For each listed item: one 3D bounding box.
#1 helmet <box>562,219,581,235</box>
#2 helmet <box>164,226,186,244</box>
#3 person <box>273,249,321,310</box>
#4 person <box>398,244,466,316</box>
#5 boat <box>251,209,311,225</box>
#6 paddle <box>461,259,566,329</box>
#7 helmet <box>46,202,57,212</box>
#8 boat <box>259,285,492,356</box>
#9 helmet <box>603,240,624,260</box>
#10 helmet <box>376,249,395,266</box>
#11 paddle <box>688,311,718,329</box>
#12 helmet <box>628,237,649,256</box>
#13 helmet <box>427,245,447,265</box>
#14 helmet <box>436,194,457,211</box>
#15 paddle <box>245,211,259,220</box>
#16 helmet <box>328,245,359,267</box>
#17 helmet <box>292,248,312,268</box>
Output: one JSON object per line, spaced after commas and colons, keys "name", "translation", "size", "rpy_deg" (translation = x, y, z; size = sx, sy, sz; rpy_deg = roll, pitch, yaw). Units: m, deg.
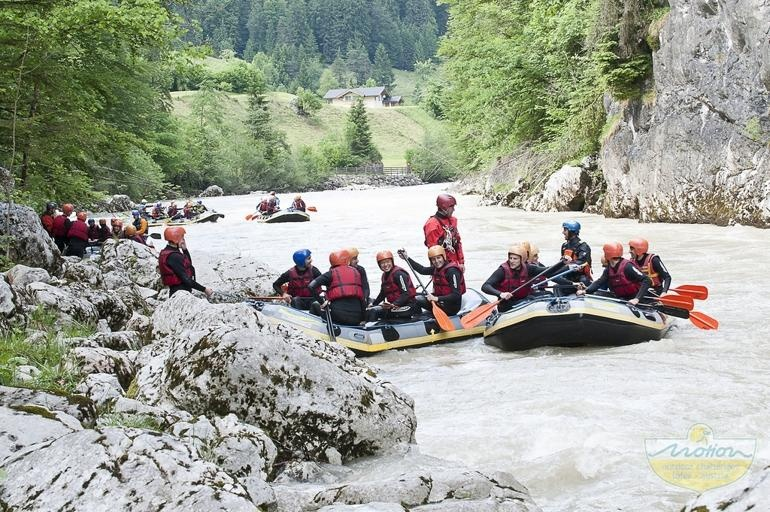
{"name": "helmet", "translation": [4.346, -0.668, 19.303], "size": [0.431, 0.340, 0.307], "rpy_deg": [-20, 27, -11]}
{"name": "helmet", "translation": [-4.598, -0.466, 18.144], "size": [0.462, 0.337, 0.363], "rpy_deg": [-8, 13, -18]}
{"name": "person", "translation": [-1.787, 0.677, 17.786], "size": [1.029, 1.530, 0.926], "rpy_deg": [1, 13, -24]}
{"name": "person", "translation": [1.016, 0.578, 18.181], "size": [1.668, 1.525, 1.183], "rpy_deg": [7, 5, 44]}
{"name": "boat", "translation": [-5.364, -2.037, 43.255], "size": [2.887, 0.638, 1.589], "rpy_deg": [-1, 9, 6]}
{"name": "paddle", "translation": [2.779, 0.876, 17.824], "size": [2.320, 0.194, 0.318], "rpy_deg": [-35, 54, 2]}
{"name": "helmet", "translation": [-9.893, -1.440, 24.641], "size": [0.233, 0.241, 0.265], "rpy_deg": [4, 5, 4]}
{"name": "boat", "translation": [-0.050, 1.548, 17.255], "size": [3.444, 0.657, 1.748], "rpy_deg": [-2, 2, -32]}
{"name": "helmet", "translation": [4.786, -0.083, 17.454], "size": [0.364, 0.381, 0.322], "rpy_deg": [-1, 10, 10]}
{"name": "helmet", "translation": [-0.006, 0.040, 17.820], "size": [0.323, 0.280, 0.440], "rpy_deg": [-3, 9, -4]}
{"name": "paddle", "translation": [6.508, 1.344, 16.913], "size": [0.562, 0.437, 0.529], "rpy_deg": [5, 12, 37]}
{"name": "helmet", "translation": [5.386, -0.177, 17.713], "size": [0.397, 0.295, 0.326], "rpy_deg": [1, 6, 18]}
{"name": "helmet", "translation": [1.134, 0.025, 17.908], "size": [0.344, 0.379, 0.411], "rpy_deg": [-15, 13, 17]}
{"name": "helmet", "translation": [1.397, -1.211, 18.993], "size": [0.451, 0.353, 0.322], "rpy_deg": [-7, 7, 5]}
{"name": "paddle", "translation": [-7.377, -2.064, 45.427], "size": [0.545, 0.295, 1.628], "rpy_deg": [-54, 17, -15]}
{"name": "helmet", "translation": [-0.815, 0.032, 16.958], "size": [0.328, 0.250, 0.528], "rpy_deg": [2, 17, 38]}
{"name": "helmet", "translation": [-1.742, 0.059, 17.542], "size": [0.417, 0.308, 0.305], "rpy_deg": [-9, 19, -1]}
